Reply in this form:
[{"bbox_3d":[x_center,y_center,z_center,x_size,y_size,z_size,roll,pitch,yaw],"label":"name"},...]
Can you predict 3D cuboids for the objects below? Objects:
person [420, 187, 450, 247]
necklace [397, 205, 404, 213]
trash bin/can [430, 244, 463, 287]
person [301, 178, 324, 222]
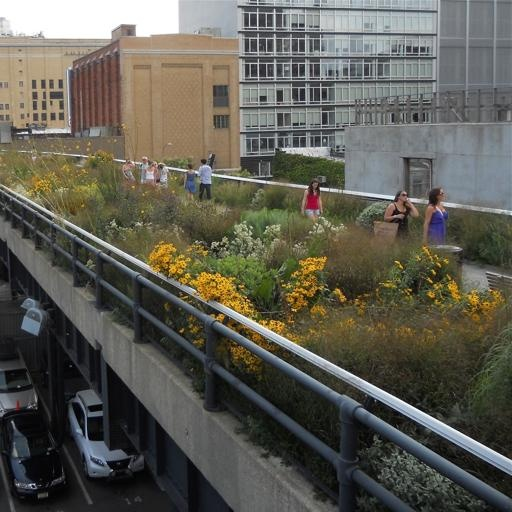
[{"bbox_3d":[2.638,-0.534,9.459,0.313,0.893,1.620,2,13,16],"label":"person"},{"bbox_3d":[2.207,-0.706,9.762,0.046,0.104,0.029,-3,-4,-8],"label":"necklace"},{"bbox_3d":[2.391,0.071,7.773,0.338,0.609,0.431,-1,4,1],"label":"trash bin/can"},{"bbox_3d":[1.086,-1.138,12.519,0.388,0.733,1.568,0,13,5],"label":"person"}]
